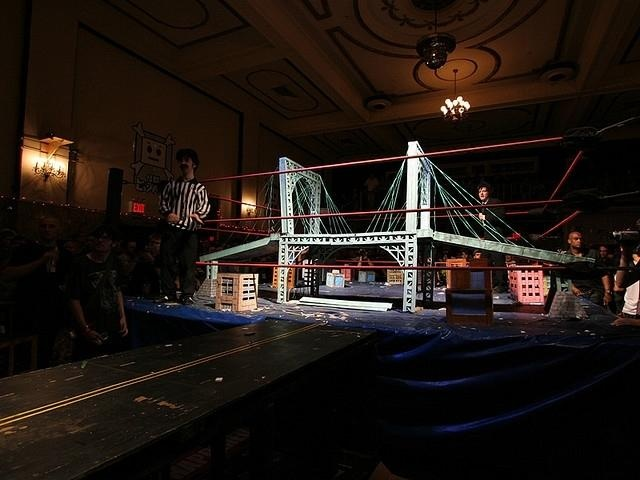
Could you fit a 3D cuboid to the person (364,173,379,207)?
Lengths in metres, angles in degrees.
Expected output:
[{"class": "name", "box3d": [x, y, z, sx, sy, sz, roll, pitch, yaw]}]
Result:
[{"class": "person", "box3d": [1.886, -1.745, 17.238, 0.499, 1.284, 0.631, 0, -4, 4]}]
